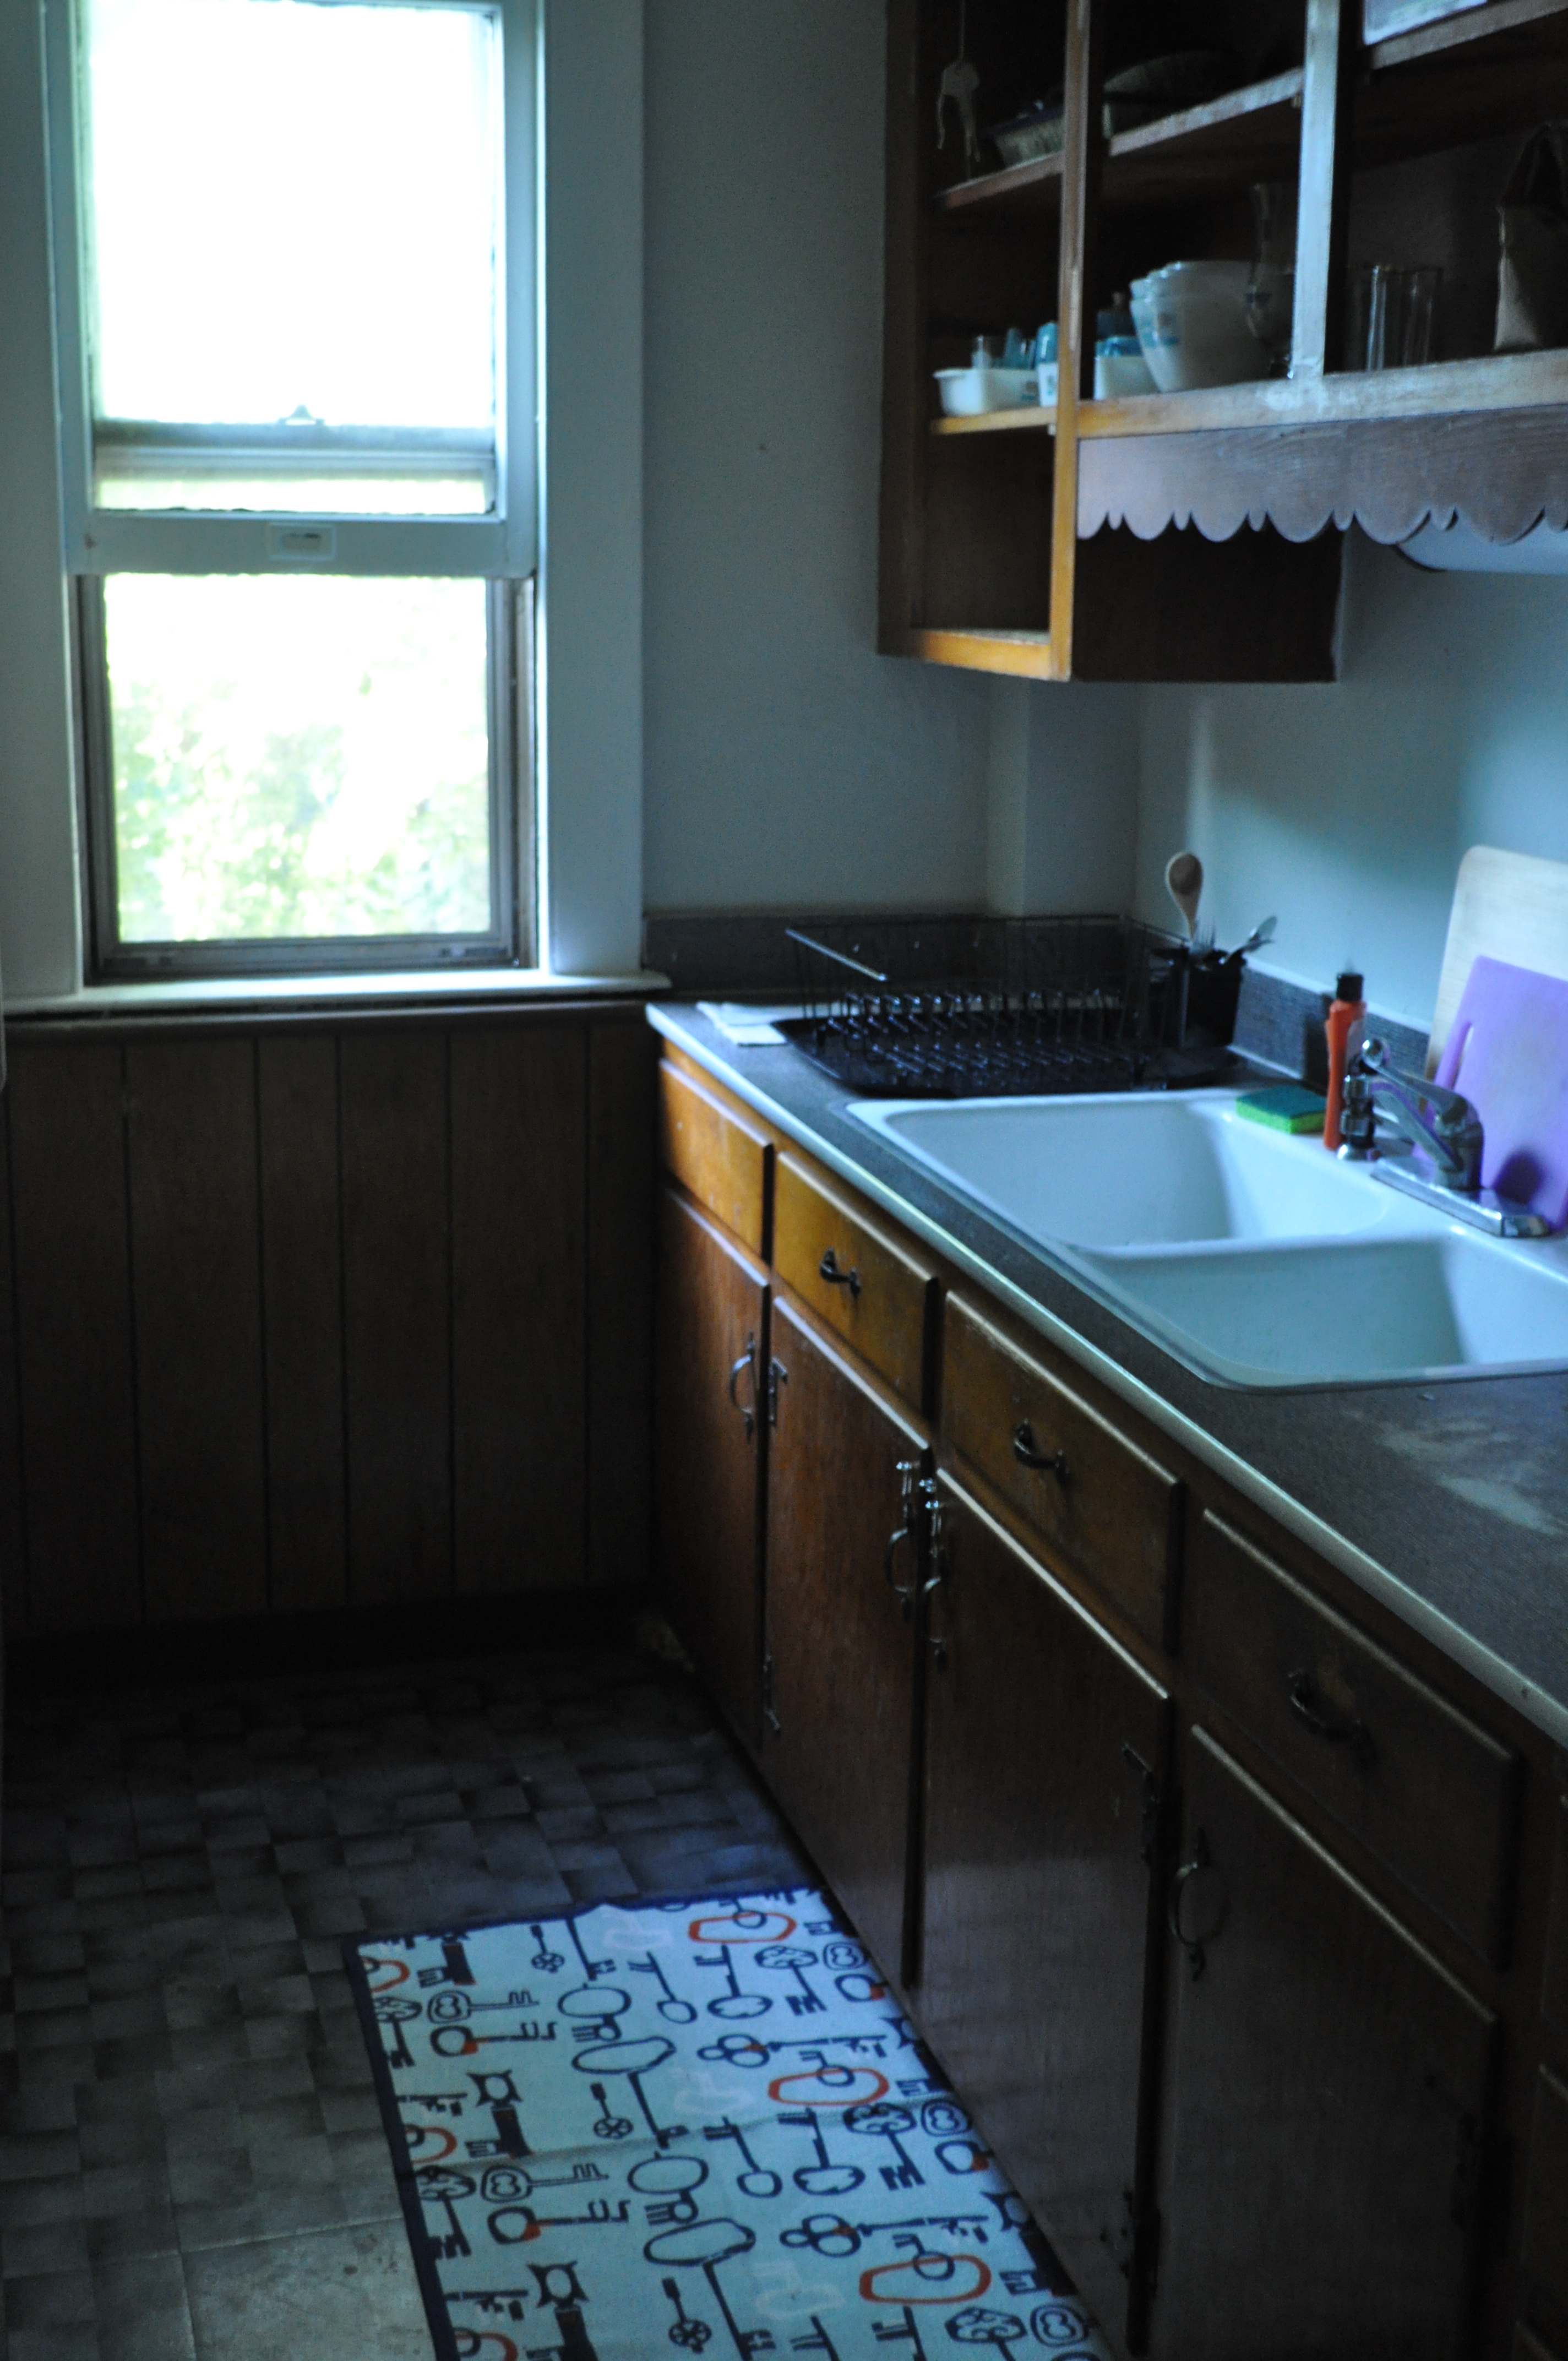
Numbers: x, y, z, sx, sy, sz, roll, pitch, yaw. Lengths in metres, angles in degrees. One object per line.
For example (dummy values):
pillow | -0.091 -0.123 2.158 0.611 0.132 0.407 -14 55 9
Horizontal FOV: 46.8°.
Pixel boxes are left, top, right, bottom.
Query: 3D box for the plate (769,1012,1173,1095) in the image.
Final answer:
plate | 0.243 -0.159 2.301 0.477 0.080 0.438 -1 7 -4

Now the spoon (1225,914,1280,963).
spoon | 0.592 -0.303 2.296 0.037 0.045 0.101 -3 1 -3

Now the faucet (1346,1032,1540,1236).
faucet | 0.621 -0.040 1.737 0.061 0.112 0.239 -5 23 -13

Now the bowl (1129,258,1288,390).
bowl | 0.384 -0.765 1.638 0.106 0.107 0.134 6 25 17
